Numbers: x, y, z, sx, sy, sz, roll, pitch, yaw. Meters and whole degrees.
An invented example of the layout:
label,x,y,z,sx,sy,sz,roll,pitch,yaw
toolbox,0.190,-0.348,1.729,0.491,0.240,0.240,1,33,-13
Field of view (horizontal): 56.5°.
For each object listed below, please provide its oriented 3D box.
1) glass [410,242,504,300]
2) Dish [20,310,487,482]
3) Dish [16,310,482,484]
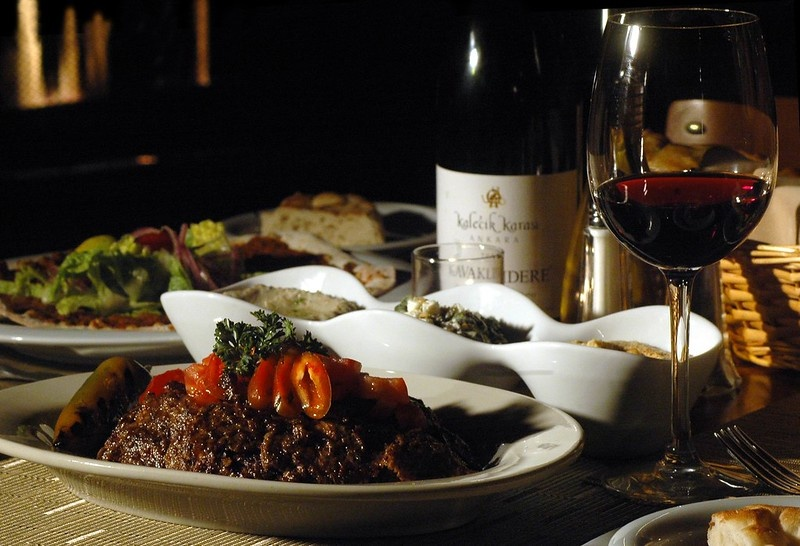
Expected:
label,x,y,z,sx,sy,sz,roll,pitch,yaw
glass,0.073,-0.007,0.931,0.085,0.061,0.082,1,3,-11
Dish,-0.126,0.125,0.655,0.270,0.092,0.189,6,-10,9
Dish,-0.132,0.125,0.659,0.271,0.086,0.190,6,-10,10
